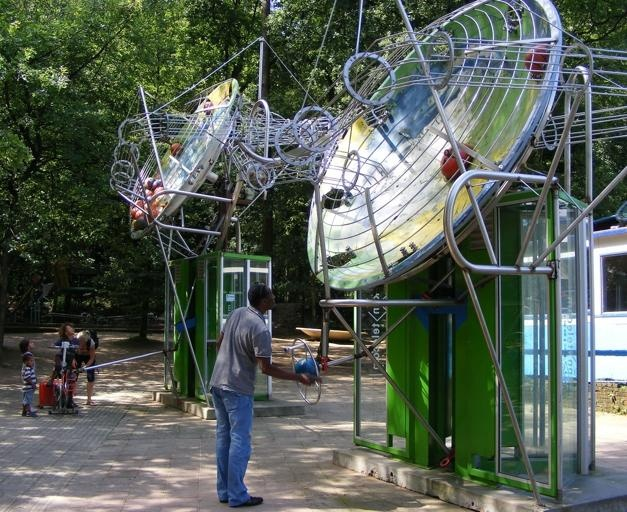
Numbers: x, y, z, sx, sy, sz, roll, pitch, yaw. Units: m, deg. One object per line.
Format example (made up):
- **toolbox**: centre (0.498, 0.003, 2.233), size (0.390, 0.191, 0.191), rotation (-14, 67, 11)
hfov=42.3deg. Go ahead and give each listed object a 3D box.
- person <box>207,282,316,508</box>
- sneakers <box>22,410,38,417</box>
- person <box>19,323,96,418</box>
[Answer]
- **person**: centre (-0.732, 1.527, 8.930), size (0.962, 2.461, 0.391), rotation (-1, -4, 23)
- **sneakers**: centre (-5.087, 2.824, 14.509), size (0.208, 0.086, 0.110), rotation (1, -3, -5)
- **person**: centre (-4.815, 2.114, 15.445), size (1.094, 1.651, 2.481), rotation (1, -5, -5)
